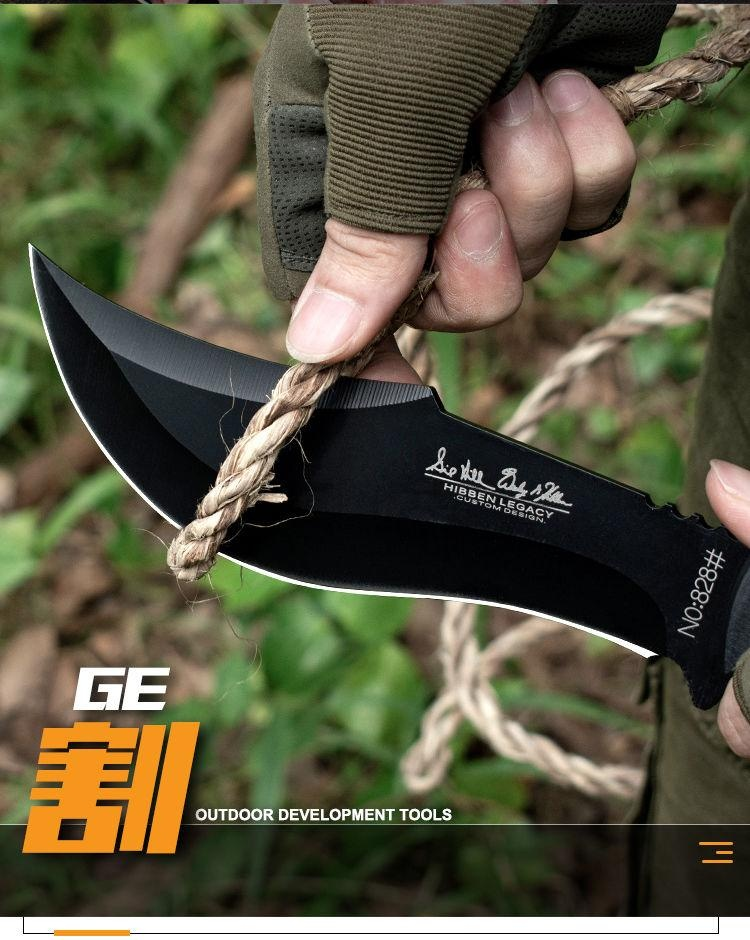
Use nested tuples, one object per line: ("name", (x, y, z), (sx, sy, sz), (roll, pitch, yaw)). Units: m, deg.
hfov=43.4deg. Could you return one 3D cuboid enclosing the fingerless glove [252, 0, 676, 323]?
("fingerless glove", (0.074, -0.302, 0.853), (0.380, 0.303, 0.274), (1, 69, 10))
